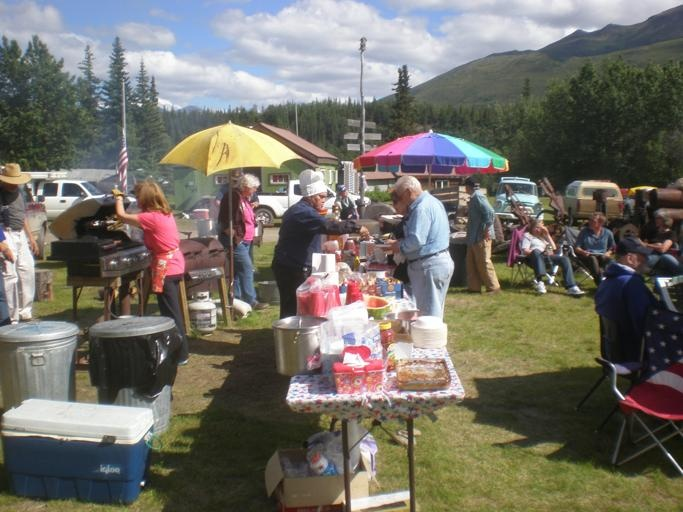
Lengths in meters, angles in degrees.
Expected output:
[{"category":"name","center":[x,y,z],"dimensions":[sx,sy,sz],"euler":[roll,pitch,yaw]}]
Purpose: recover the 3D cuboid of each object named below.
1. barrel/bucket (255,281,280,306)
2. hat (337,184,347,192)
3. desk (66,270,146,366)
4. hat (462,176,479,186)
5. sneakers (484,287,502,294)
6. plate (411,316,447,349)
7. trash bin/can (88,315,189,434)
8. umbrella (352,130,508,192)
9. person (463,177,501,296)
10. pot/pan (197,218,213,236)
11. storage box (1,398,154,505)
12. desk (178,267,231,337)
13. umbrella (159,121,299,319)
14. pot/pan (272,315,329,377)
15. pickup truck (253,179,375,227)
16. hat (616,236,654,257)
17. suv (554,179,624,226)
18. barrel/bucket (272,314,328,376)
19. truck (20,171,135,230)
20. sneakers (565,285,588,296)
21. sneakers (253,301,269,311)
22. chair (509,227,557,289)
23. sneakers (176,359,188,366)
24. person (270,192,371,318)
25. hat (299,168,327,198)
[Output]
[{"category":"barrel/bucket","center":[-1.213,0.617,12.228],"dimensions":[0.377,0.334,0.435],"euler":[0,-2,1]},{"category":"hat","center":[0.011,-1.633,17.849],"dimensions":[0.149,0.113,0.208],"euler":[-7,-5,-21]},{"category":"desk","center":[-2.740,0.725,8.548],"dimensions":[0.479,1.001,1.031],"euler":[1,5,10]},{"category":"hat","center":[2.213,-1.247,12.366],"dimensions":[0.221,0.185,0.170],"euler":[-13,15,-10]},{"category":"sneakers","center":[2.660,0.615,12.865],"dimensions":[0.179,0.078,0.107],"euler":[-4,2,24]},{"category":"plate","center":[0.823,0.707,6.961],"dimensions":[0.284,0.206,0.287],"euler":[1,1,43]},{"category":"trash bin/can","center":[-2.213,1.253,7.811],"dimensions":[0.964,1.157,0.950],"euler":[-1,10,-6]},{"category":"umbrella","center":[1.739,-1.722,13.562],"dimensions":[2.406,0.932,2.513],"euler":[1,-3,-4]},{"category":"person","center":[2.421,-0.335,12.654],"dimensions":[0.511,2.028,0.757],"euler":[-1,6,9]},{"category":"pot/pan","center":[-2.300,-0.483,12.260],"dimensions":[0.259,0.318,0.271],"euler":[0,4,-3]},{"category":"storage box","center":[-2.480,1.800,7.042],"dimensions":[1.199,0.809,0.799],"euler":[3,3,1]},{"category":"desk","center":[-1.897,0.610,10.619],"dimensions":[0.664,0.829,0.289],"euler":[-6,0,18]},{"category":"umbrella","center":[-1.809,-0.894,11.021],"dimensions":[1.877,2.637,1.960],"euler":[-7,13,-27]},{"category":"pot/pan","center":[-0.397,0.806,6.790],"dimensions":[0.500,0.455,0.500],"euler":[-1,-1,-1]},{"category":"pickup truck","center":[-1.055,-1.401,24.253],"dimensions":[3.468,1.646,1.804],"euler":[-2,7,0]},{"category":"hat","center":[3.282,-0.101,8.203],"dimensions":[0.295,0.178,0.207],"euler":[0,5,-8]},{"category":"suv","center":[9.876,-2.218,27.885],"dimensions":[1.677,1.670,3.561],"euler":[3,14,21]},{"category":"barrel/bucket","center":[-0.285,0.842,6.895],"dimensions":[0.548,0.520,0.517],"euler":[-11,-9,-2]},{"category":"truck","center":[-9.030,-1.894,24.063],"dimensions":[3.344,1.927,1.797],"euler":[-3,6,-3]},{"category":"sneakers","center":[4.123,0.604,12.711],"dimensions":[0.361,0.175,0.146],"euler":[-4,2,41]},{"category":"sneakers","center":[-1.296,0.809,11.800],"dimensions":[0.230,0.108,0.095],"euler":[-1,4,11]},{"category":"chair","center":[3.410,-0.041,13.704],"dimensions":[0.621,0.923,0.587],"euler":[12,27,24]},{"category":"sneakers","center":[-1.984,1.322,9.126],"dimensions":[0.118,0.097,0.122],"euler":[-1,-1,29]},{"category":"person","center":[-0.283,0.087,9.283],"dimensions":[1.105,2.051,0.922],"euler":[8,24,8]},{"category":"hat","center":[-0.313,-0.876,8.728],"dimensions":[0.313,0.271,0.268],"euler":[-6,12,-24]}]
